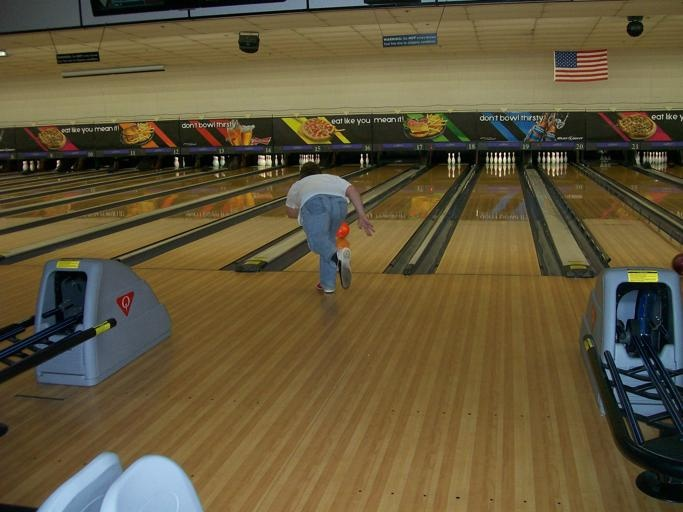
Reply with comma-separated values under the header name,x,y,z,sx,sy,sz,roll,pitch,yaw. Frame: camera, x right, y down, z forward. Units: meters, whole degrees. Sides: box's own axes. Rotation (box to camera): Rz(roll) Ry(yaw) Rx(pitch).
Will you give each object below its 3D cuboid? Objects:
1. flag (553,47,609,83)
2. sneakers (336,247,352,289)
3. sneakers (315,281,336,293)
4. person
name,x,y,z,sx,sy,sz,roll,pitch,yaw
flag,5.408,-4.290,10.819,1.175,0.671,0.550,-1,16,9
sneakers,0.022,0.074,3.224,0.102,0.268,0.113,-7,5,-40
sneakers,-0.126,0.222,3.561,0.058,0.057,0.146,-5,10,-33
person,-0.058,-0.189,3.465,0.532,0.930,0.751,-9,17,-16
